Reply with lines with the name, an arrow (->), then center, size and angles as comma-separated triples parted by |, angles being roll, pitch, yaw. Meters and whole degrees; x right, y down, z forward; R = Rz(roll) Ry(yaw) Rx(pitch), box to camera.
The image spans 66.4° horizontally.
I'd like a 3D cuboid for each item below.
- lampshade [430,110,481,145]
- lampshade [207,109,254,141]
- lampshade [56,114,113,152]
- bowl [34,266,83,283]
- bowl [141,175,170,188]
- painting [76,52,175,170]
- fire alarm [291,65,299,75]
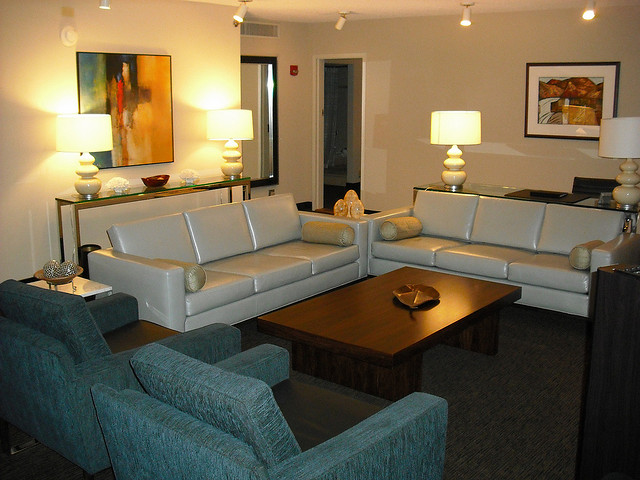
lampshade -> 1.584, -1.300, 5.701 | 0.633, 0.377, 0.578 | 0, 11, 3
lampshade -> -1.203, -1.525, 6.497 | 0.464, 0.267, 0.463 | 0, 13, 7
lampshade -> -2.423, -1.104, 5.042 | 0.454, 0.300, 0.456 | 1, 5, 0
bowl -> -1.945, 0.258, 3.669 | 0.245, 0.121, 0.363 | -4, 13, -45
bowl -> -1.924, -0.695, 5.775 | 0.230, 0.081, 0.168 | -9, 13, -40
painting -> -2.320, -1.555, 5.745 | 0.025, 1.623, 1.479 | 9, 14, 40
fire alarm -> -0.437, -2.906, 8.321 | 0.024, 0.179, 0.183 | 11, 17, 39
